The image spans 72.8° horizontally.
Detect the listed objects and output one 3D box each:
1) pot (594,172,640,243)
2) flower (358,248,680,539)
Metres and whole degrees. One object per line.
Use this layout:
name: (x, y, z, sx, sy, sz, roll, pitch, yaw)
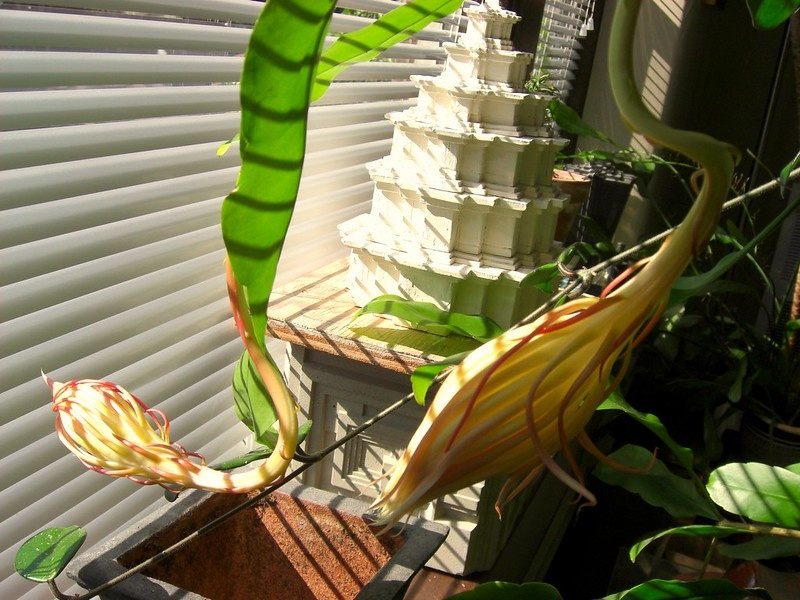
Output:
pot: (0.791, -0.364, 2.047, 0.128, 0.212, 0.206, 13, 19, 24)
flower: (0.058, 0.036, 0.227, 0.120, 0.123, 0.066, -12, 24, -41)
